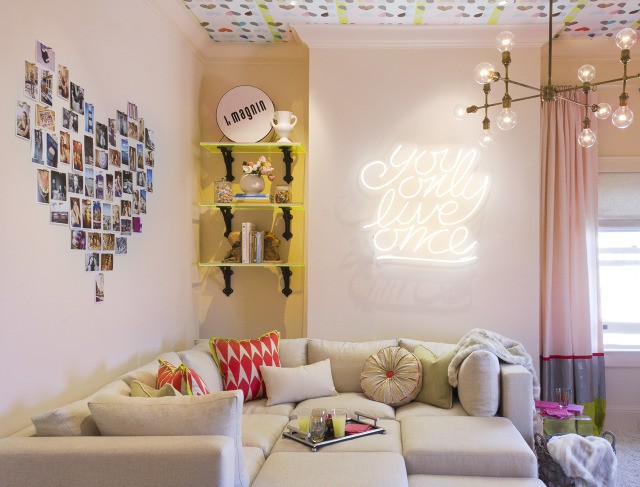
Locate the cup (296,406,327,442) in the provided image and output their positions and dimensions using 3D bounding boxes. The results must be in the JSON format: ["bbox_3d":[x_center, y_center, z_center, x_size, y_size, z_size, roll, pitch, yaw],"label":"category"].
[{"bbox_3d":[-0.050,1.110,3.359,0.172,0.218,0.175,1,-2,0],"label":"cup"}]

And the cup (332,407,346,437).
[{"bbox_3d":[0.118,1.136,3.421,0.117,0.210,0.127,1,-3,0],"label":"cup"}]

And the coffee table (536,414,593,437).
[{"bbox_3d":[1.786,1.325,3.882,0.271,0.168,0.198,-1,-9,11],"label":"coffee table"}]

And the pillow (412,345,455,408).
[{"bbox_3d":[0.802,0.995,3.921,0.306,0.343,0.096,-5,-16,45],"label":"pillow"}]

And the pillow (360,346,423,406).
[{"bbox_3d":[0.506,0.925,4.015,0.369,0.406,0.124,-13,-43,25],"label":"pillow"}]

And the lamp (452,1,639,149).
[{"bbox_3d":[1.749,-1.364,4.290,0.973,1.079,0.904,14,-15,-38],"label":"lamp"}]

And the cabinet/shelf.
[{"bbox_3d":[-0.572,-0.161,4.785,0.917,1.440,0.773,0,5,6],"label":"cabinet/shelf"}]

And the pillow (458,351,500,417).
[{"bbox_3d":[1.131,0.889,3.970,0.313,0.571,0.633,1,-7,12],"label":"pillow"}]
